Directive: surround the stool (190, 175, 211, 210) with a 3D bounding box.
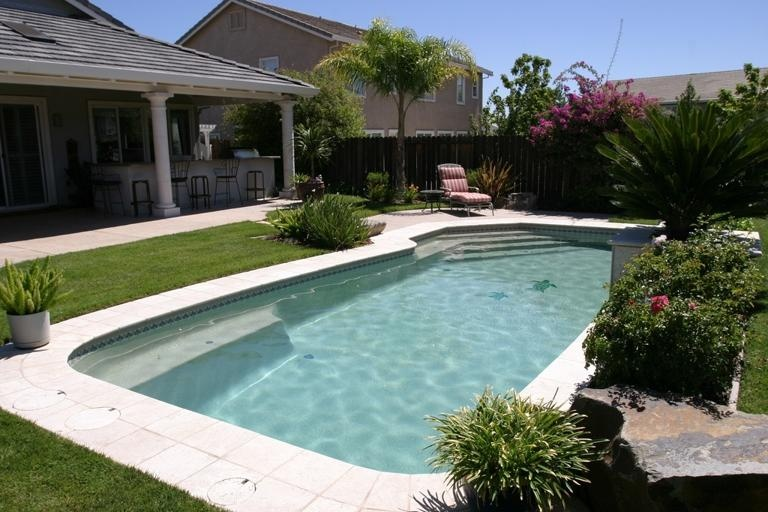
[{"bbox_3d":[-5.806,-2.070,16.614,0.602,0.978,1.222,-4,12,-18],"label":"stool"}]

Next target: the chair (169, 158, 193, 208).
[{"bbox_3d":[-6.205,-2.239,16.157,0.593,1.411,1.008,-5,12,-22],"label":"chair"}]

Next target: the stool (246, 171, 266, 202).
[{"bbox_3d":[-4.515,-2.530,18.449,0.370,1.004,0.869,4,12,22],"label":"stool"}]

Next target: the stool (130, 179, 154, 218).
[{"bbox_3d":[-6.923,-1.701,14.997,0.582,1.010,0.467,-6,12,-27],"label":"stool"}]
